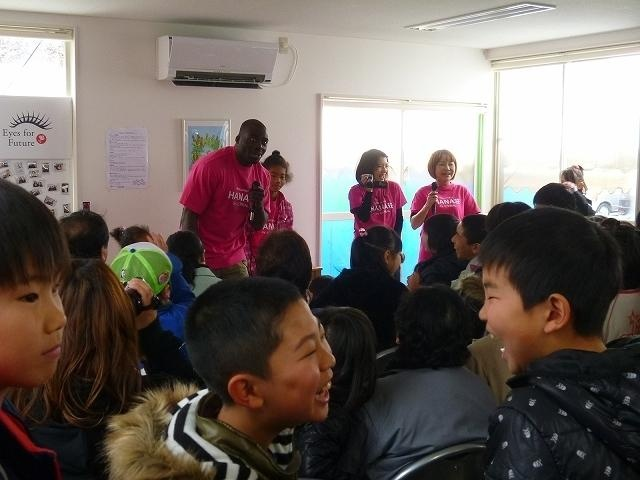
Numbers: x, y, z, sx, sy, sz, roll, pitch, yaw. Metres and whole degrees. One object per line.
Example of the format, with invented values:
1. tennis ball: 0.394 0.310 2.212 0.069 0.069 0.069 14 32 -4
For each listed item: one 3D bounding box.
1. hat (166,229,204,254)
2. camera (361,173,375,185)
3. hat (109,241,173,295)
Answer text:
1. hat: -0.772 -0.006 2.774 0.126 0.170 0.165 -2 27 7
2. camera: 0.470 -0.606 4.753 0.085 0.122 0.042 -6 51 2
3. hat: -0.736 0.100 1.999 0.174 0.150 0.258 18 29 -1
